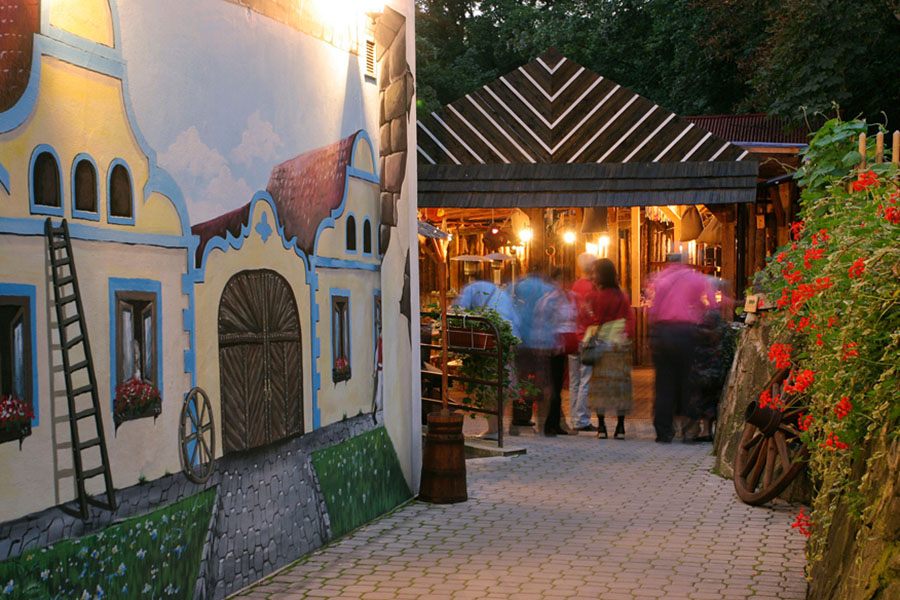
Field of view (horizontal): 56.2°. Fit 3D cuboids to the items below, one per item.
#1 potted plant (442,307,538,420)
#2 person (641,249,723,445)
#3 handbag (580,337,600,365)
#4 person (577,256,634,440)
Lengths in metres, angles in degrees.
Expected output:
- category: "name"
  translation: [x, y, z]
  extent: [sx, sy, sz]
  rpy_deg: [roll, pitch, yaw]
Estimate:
- category: "potted plant"
  translation: [0.584, 0.836, 11.632]
  extent: [1.124, 2.025, 1.735]
  rpy_deg: [-1, 2, -3]
- category: "person"
  translation: [3.162, 0.761, 11.547]
  extent: [0.806, 2.454, 0.593]
  rpy_deg: [0, 2, 18]
- category: "handbag"
  translation: [1.991, 0.725, 11.899]
  extent: [0.325, 0.399, 0.154]
  rpy_deg: [2, -3, 26]
- category: "person"
  translation: [2.221, 0.701, 11.984]
  extent: [0.723, 2.542, 0.370]
  rpy_deg: [0, 2, 9]
